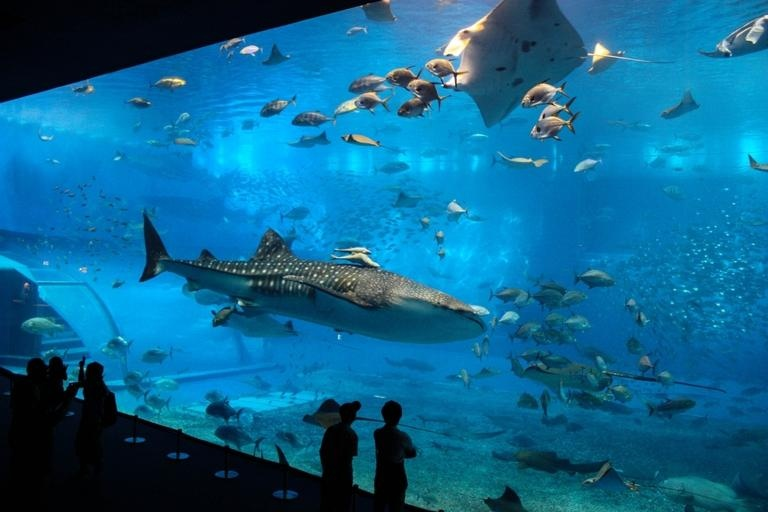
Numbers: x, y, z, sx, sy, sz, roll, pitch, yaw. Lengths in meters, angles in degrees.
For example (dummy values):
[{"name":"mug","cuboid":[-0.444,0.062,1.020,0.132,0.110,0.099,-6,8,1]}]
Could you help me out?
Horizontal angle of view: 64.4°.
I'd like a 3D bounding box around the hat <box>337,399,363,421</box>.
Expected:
[{"name":"hat","cuboid":[-1.169,5.130,20.316,0.709,0.750,0.355,14,29,-11]}]
